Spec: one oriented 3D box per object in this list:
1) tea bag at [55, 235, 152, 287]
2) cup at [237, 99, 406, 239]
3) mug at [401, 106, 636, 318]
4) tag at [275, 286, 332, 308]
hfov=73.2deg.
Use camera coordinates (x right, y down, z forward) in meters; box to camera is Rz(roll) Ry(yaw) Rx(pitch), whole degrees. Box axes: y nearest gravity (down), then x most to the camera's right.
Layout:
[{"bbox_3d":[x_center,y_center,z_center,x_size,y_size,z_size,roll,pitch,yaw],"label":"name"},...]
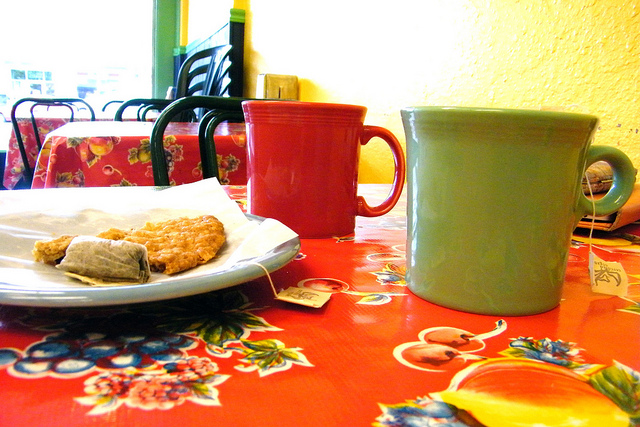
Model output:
[{"bbox_3d":[-0.204,0.044,0.406,0.087,0.037,0.023,6,15,19],"label":"tea bag"},{"bbox_3d":[0.011,-0.069,0.647,0.271,0.157,0.155,2,7,-12],"label":"cup"},{"bbox_3d":[0.159,-0.012,0.521,0.294,0.199,0.189,1,10,-15],"label":"mug"},{"bbox_3d":[-0.013,0.079,0.414,0.046,0.010,0.045,6,14,20],"label":"tag"}]
